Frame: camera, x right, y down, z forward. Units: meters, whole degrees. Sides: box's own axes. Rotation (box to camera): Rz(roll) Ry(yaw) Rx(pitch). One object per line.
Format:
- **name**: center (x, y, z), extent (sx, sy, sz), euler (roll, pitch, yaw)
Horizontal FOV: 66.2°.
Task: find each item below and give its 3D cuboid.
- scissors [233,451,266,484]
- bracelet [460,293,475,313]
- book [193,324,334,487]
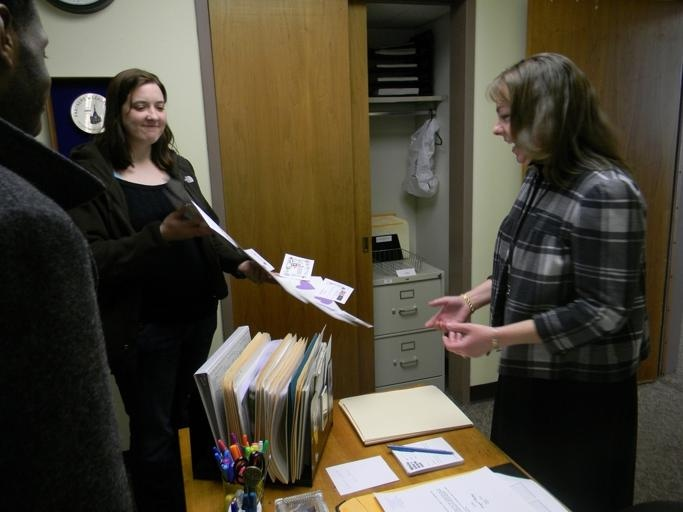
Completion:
- **scissors**: center (-0.218, 0.486, 1.222), extent (0.054, 0.088, 0.021), euler (10, 14, 25)
- **bracelet**: center (0.460, 0.168, 1.921), extent (0.021, 0.053, 0.065), euler (-20, 48, 15)
- **book**: center (-0.184, 0.366, 1.478), extent (0.278, 0.214, 0.424), euler (-2, 13, 2)
